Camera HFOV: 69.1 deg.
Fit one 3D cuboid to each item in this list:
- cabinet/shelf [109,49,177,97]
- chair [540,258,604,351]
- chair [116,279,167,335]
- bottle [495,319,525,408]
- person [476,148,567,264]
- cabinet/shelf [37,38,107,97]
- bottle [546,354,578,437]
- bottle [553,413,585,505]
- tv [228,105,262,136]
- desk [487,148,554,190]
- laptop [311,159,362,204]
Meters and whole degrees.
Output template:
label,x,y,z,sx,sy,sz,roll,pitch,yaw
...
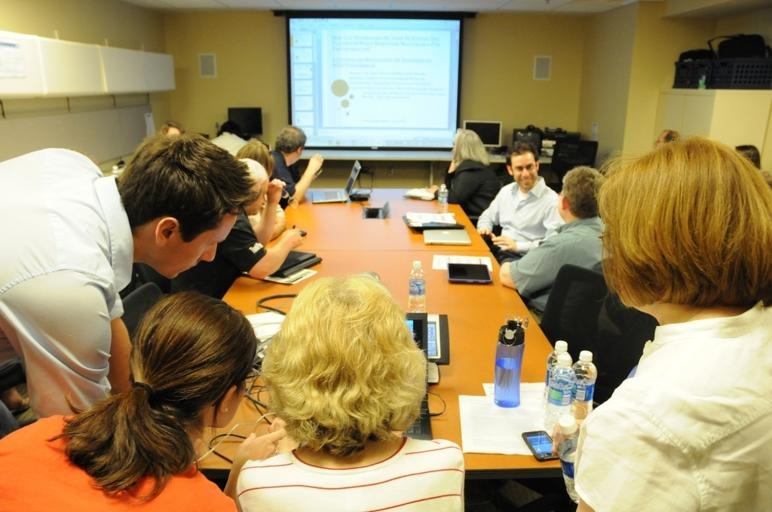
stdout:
label,x,y,z,sx,sy,sz,roll,pitch,yaw
cabinet/shelf,-2.667,-1.913,6.020,0.801,0.206,0.105,-11,9,-8
chair,0.909,0.245,2.740,0.258,0.459,0.273,20,-3,29
chair,-0.909,0.191,2.075,0.161,0.205,0.148,8,29,7
bottle,0.466,0.386,2.133,0.102,0.313,0.207,3,17,12
person,1.009,-0.344,4.578,0.816,1.095,0.908,5,19,16
cabinet/shelf,-2.603,-1.572,4.684,0.186,0.413,0.994,-4,18,-10
bottle,0.611,0.493,1.985,0.101,0.236,0.106,2,12,0
bottle,0.571,0.678,1.764,0.058,0.202,0.058,0,-11,0
tv,-1.897,-1.810,7.512,0.426,0.427,0.102,-1,11,-9
desk,1.840,-1.198,7.527,0.496,0.626,0.971,-10,7,20
laptop,-0.487,-0.618,5.201,0.440,0.324,0.515,1,20,-2
